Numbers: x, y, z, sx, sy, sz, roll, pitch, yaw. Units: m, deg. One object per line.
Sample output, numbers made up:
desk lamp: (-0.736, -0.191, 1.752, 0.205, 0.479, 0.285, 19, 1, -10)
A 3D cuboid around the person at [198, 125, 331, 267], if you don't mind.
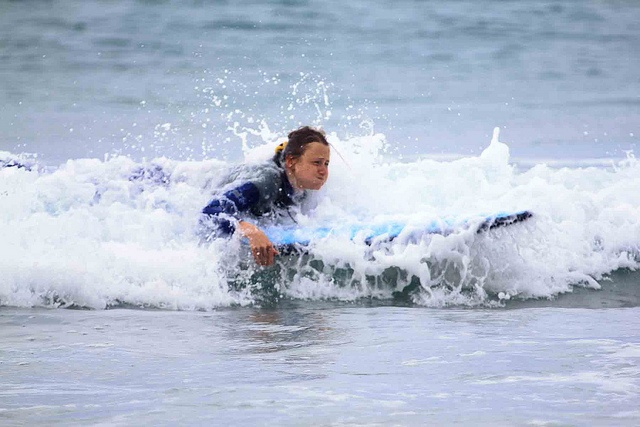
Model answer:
person: (-0.428, -0.290, 9.407, 1.104, 0.841, 0.428, -13, 20, -42)
